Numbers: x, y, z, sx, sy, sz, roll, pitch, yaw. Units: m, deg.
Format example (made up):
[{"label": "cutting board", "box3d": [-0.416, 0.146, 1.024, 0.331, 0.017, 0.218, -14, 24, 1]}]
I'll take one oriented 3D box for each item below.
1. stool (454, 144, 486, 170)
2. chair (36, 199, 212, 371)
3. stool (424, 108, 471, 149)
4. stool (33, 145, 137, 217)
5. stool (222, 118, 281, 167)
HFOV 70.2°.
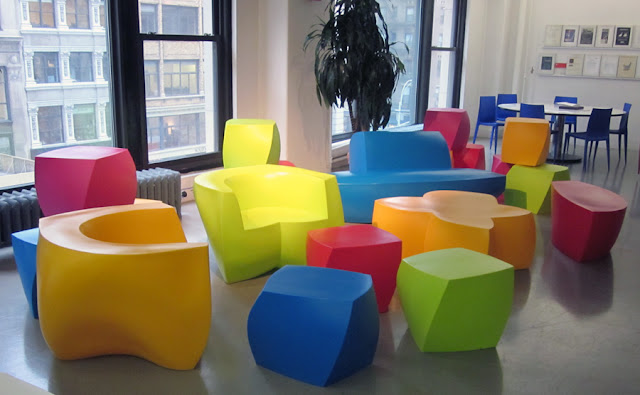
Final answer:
[{"label": "stool", "box3d": [2.343, -0.630, 7.046, 0.419, 0.336, 0.423, -8, 9, -44]}, {"label": "chair", "box3d": [-1.550, 0.923, 3.709, 1.123, 1.129, 1.502, -3, 13, -21]}, {"label": "stool", "box3d": [2.038, -1.166, 7.275, 0.628, 0.630, 0.686, 4, 11, 25]}, {"label": "stool", "box3d": [-2.390, -0.211, 4.703, 0.743, 0.752, 0.821, 5, 11, 35]}, {"label": "stool", "box3d": [-0.836, -0.699, 5.799, 0.576, 0.652, 0.641, 6, 12, 21]}]
